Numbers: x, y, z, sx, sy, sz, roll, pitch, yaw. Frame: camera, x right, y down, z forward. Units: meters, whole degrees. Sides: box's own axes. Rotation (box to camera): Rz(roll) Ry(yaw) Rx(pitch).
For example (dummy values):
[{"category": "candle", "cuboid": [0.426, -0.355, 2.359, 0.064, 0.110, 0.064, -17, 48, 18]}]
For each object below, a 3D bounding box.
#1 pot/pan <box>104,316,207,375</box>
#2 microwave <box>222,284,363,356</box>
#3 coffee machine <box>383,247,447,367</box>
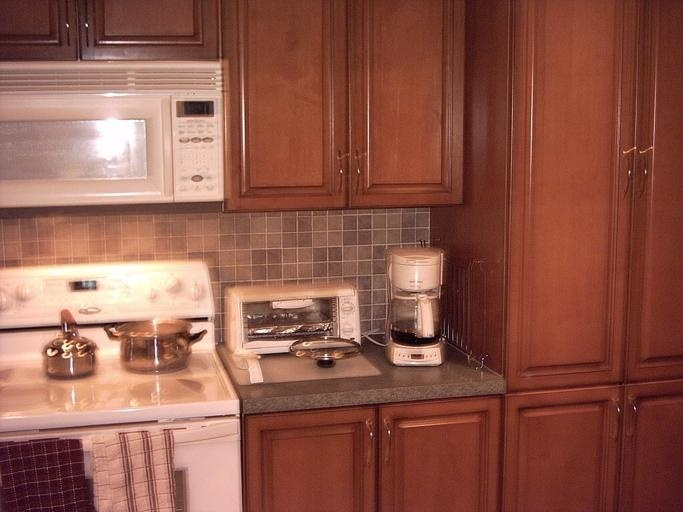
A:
[{"category": "pot/pan", "cuboid": [-0.687, 0.306, 2.241, 0.354, 0.182, 0.277, -1, 11, -20]}, {"category": "microwave", "cuboid": [-0.203, 0.242, 2.450, 0.522, 0.275, 0.272, -1, 4, -11]}, {"category": "coffee machine", "cuboid": [0.269, 0.189, 2.422, 0.227, 0.468, 0.223, 0, 12, -7]}]
